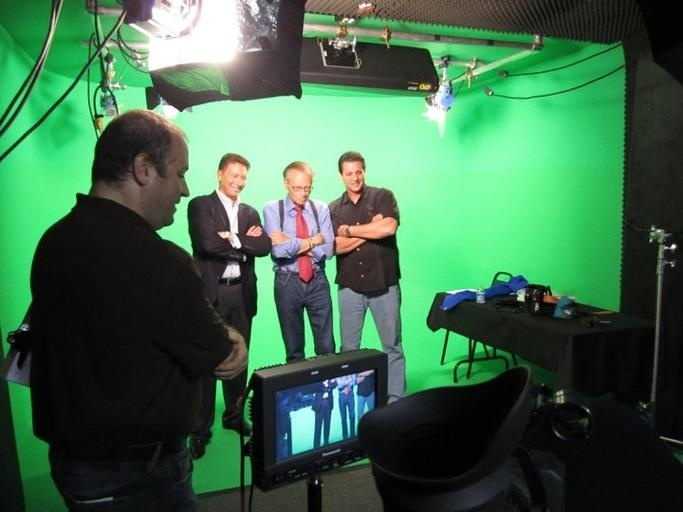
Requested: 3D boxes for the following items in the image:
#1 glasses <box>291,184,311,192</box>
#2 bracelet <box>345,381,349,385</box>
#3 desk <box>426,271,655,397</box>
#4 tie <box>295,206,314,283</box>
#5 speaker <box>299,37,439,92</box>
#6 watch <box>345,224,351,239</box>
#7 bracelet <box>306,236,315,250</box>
[{"bbox_3d":[-0.290,-0.506,4.198,0.077,0.058,0.184,-1,4,44],"label":"glasses"},{"bbox_3d":[0.021,0.518,2.273,0.012,0.013,0.006,-6,5,-2],"label":"bracelet"},{"bbox_3d":[1.479,0.644,4.106,0.781,0.616,1.313,-5,3,-19],"label":"desk"},{"bbox_3d":[-0.289,-0.092,4.212,0.121,0.580,0.174,-4,3,-5],"label":"tie"},{"bbox_3d":[0.214,-1.438,4.543,1.032,0.517,0.215,0,-41,-15],"label":"speaker"},{"bbox_3d":[0.044,-0.179,4.268,0.048,0.079,0.070,1,0,22],"label":"watch"},{"bbox_3d":[-0.231,-0.099,4.122,0.018,0.064,0.062,-1,-2,36],"label":"bracelet"}]
